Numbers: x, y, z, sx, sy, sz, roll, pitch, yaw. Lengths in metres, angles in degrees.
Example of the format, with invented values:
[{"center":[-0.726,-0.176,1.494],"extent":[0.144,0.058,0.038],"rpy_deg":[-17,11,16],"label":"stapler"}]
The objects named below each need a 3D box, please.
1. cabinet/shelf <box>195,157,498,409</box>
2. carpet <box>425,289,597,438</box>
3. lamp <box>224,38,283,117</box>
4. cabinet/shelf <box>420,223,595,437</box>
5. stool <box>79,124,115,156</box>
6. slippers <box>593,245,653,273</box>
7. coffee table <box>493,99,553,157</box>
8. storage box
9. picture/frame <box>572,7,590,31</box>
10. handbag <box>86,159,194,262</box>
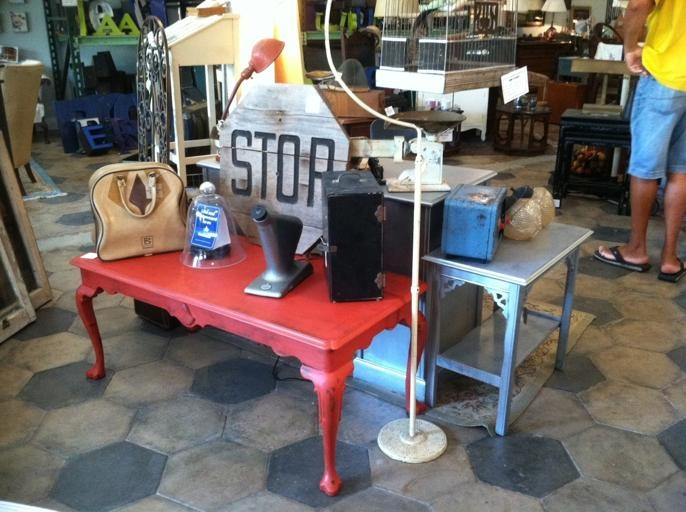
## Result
[{"center":[0.108,-0.013,2.940],"extent":[1.765,1.293,1.024],"rpy_deg":[16,25,33],"label":"cabinet/shelf"},{"center":[0.720,0.255,2.372],"extent":[0.530,0.286,1.185],"rpy_deg":[12,28,29],"label":"carpet"},{"center":[-0.451,-0.861,2.607],"extent":[0.341,0.342,0.260],"rpy_deg":[-10,25,-18],"label":"lamp"},{"center":[0.709,0.356,2.391],"extent":[0.423,0.622,0.676],"rpy_deg":[20,39,37],"label":"cabinet/shelf"},{"center":[-3.059,-1.426,6.626],"extent":[0.209,0.368,0.267],"rpy_deg":[-4,38,24],"label":"stool"},{"center":[1.891,0.015,3.622],"extent":[0.151,0.096,0.314],"rpy_deg":[-22,31,-31],"label":"slippers"},{"center":[2.315,-1.712,6.884],"extent":[0.656,0.548,1.555],"rpy_deg":[7,25,18],"label":"coffee table"},{"center":[0.533,-0.133,2.219],"extent":[0.208,0.250,0.220],"rpy_deg":[8,26,20],"label":"storage box"},{"center":[4.340,-4.308,9.770],"extent":[0.355,0.427,0.352],"rpy_deg":[3,24,10],"label":"picture/frame"},{"center":[-0.891,-0.224,2.578],"extent":[0.526,0.498,0.419],"rpy_deg":[-6,24,-18],"label":"handbag"}]
